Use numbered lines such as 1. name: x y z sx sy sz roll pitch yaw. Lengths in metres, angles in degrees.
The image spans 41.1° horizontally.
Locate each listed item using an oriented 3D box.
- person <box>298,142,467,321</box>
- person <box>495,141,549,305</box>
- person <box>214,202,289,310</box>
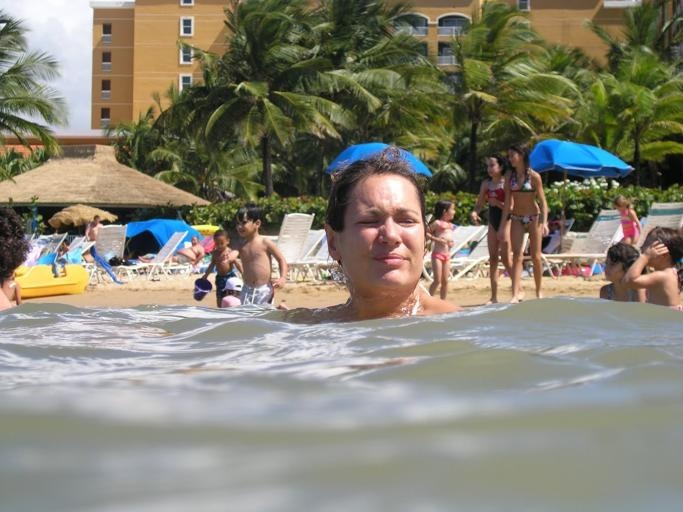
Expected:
1. person: 0.120 -0.073 3.854 0.543 0.759 0.444 6 12 26
2. person: 1.603 -0.284 8.050 0.376 1.382 0.726 3 11 11
3. person: -0.689 0.180 7.564 0.436 1.264 0.438 -4 -8 7
